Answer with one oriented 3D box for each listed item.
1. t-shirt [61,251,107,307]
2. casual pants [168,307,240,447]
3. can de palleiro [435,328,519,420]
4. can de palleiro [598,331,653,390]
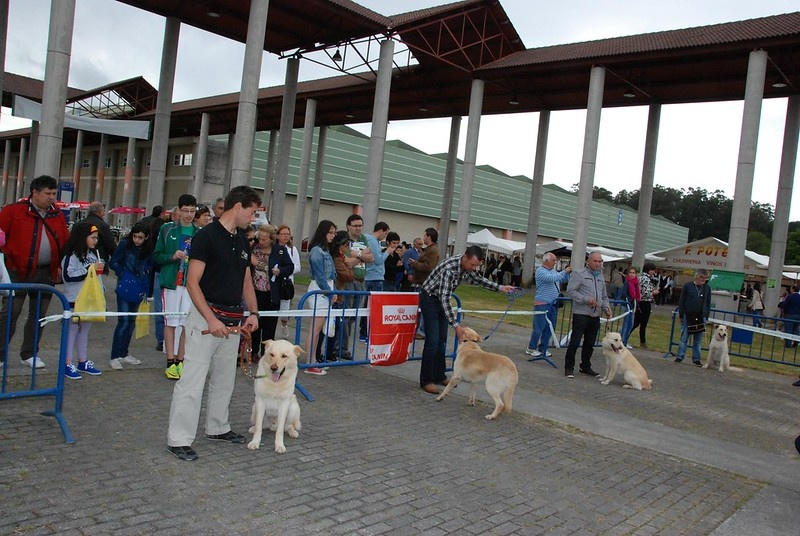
[{"bbox_3d":[-4.764,0.158,8.455,0.559,0.841,0.719,4,10,12],"label":"t-shirt"},{"bbox_3d":[-2.326,1.284,6.683,0.374,1.699,0.769,11,10,34],"label":"casual pants"},{"bbox_3d":[1.240,1.651,8.964,0.515,1.233,2.085,17,-7,-23],"label":"can de palleiro"},{"bbox_3d":[4.505,1.861,11.219,1.390,1.013,0.492,16,-9,5],"label":"can de palleiro"}]
